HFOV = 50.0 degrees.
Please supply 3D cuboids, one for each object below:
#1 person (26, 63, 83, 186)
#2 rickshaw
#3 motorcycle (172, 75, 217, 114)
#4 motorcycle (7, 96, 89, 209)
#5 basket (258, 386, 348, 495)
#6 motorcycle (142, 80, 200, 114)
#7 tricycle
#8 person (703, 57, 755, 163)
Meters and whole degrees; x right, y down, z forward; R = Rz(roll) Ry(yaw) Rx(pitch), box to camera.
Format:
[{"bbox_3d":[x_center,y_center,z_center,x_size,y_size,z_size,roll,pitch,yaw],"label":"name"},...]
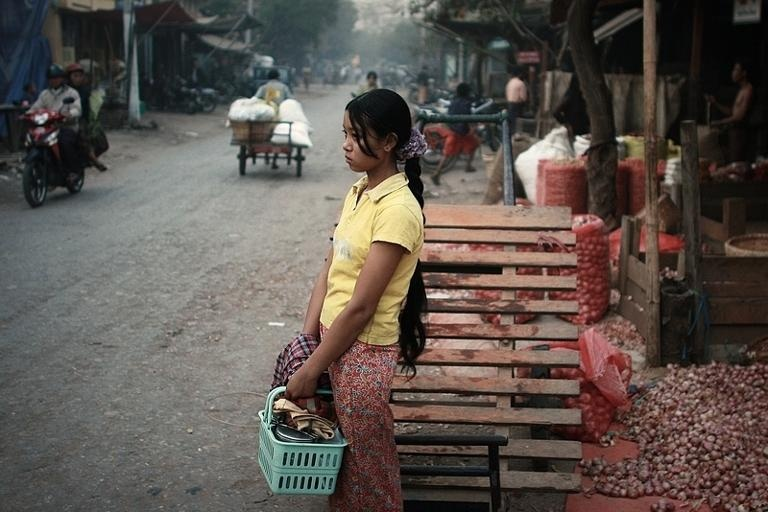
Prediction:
[{"bbox_3d":[-4.689,-2.040,12.120,0.602,1.366,2.120,0,8,-8],"label":"person"},{"bbox_3d":[0.826,0.584,6.746,1.502,2.130,1.500,1,-1,-3],"label":"rickshaw"},{"bbox_3d":[-6.064,-5.134,26.411,1.587,0.743,1.569,-18,44,-42],"label":"motorcycle"},{"bbox_3d":[-4.823,-1.434,11.885,0.486,1.366,1.305,1,11,8],"label":"motorcycle"},{"bbox_3d":[-0.506,1.228,5.397,0.496,0.639,0.668,3,13,-15],"label":"basket"},{"bbox_3d":[-6.570,-4.871,25.499,1.351,0.811,1.521,3,18,-7],"label":"motorcycle"},{"bbox_3d":[-1.959,-2.132,15.218,1.362,0.993,2.037,2,20,1],"label":"tricycle"},{"bbox_3d":[4.850,-1.686,11.625,0.690,2.001,0.741,6,14,34],"label":"person"}]
